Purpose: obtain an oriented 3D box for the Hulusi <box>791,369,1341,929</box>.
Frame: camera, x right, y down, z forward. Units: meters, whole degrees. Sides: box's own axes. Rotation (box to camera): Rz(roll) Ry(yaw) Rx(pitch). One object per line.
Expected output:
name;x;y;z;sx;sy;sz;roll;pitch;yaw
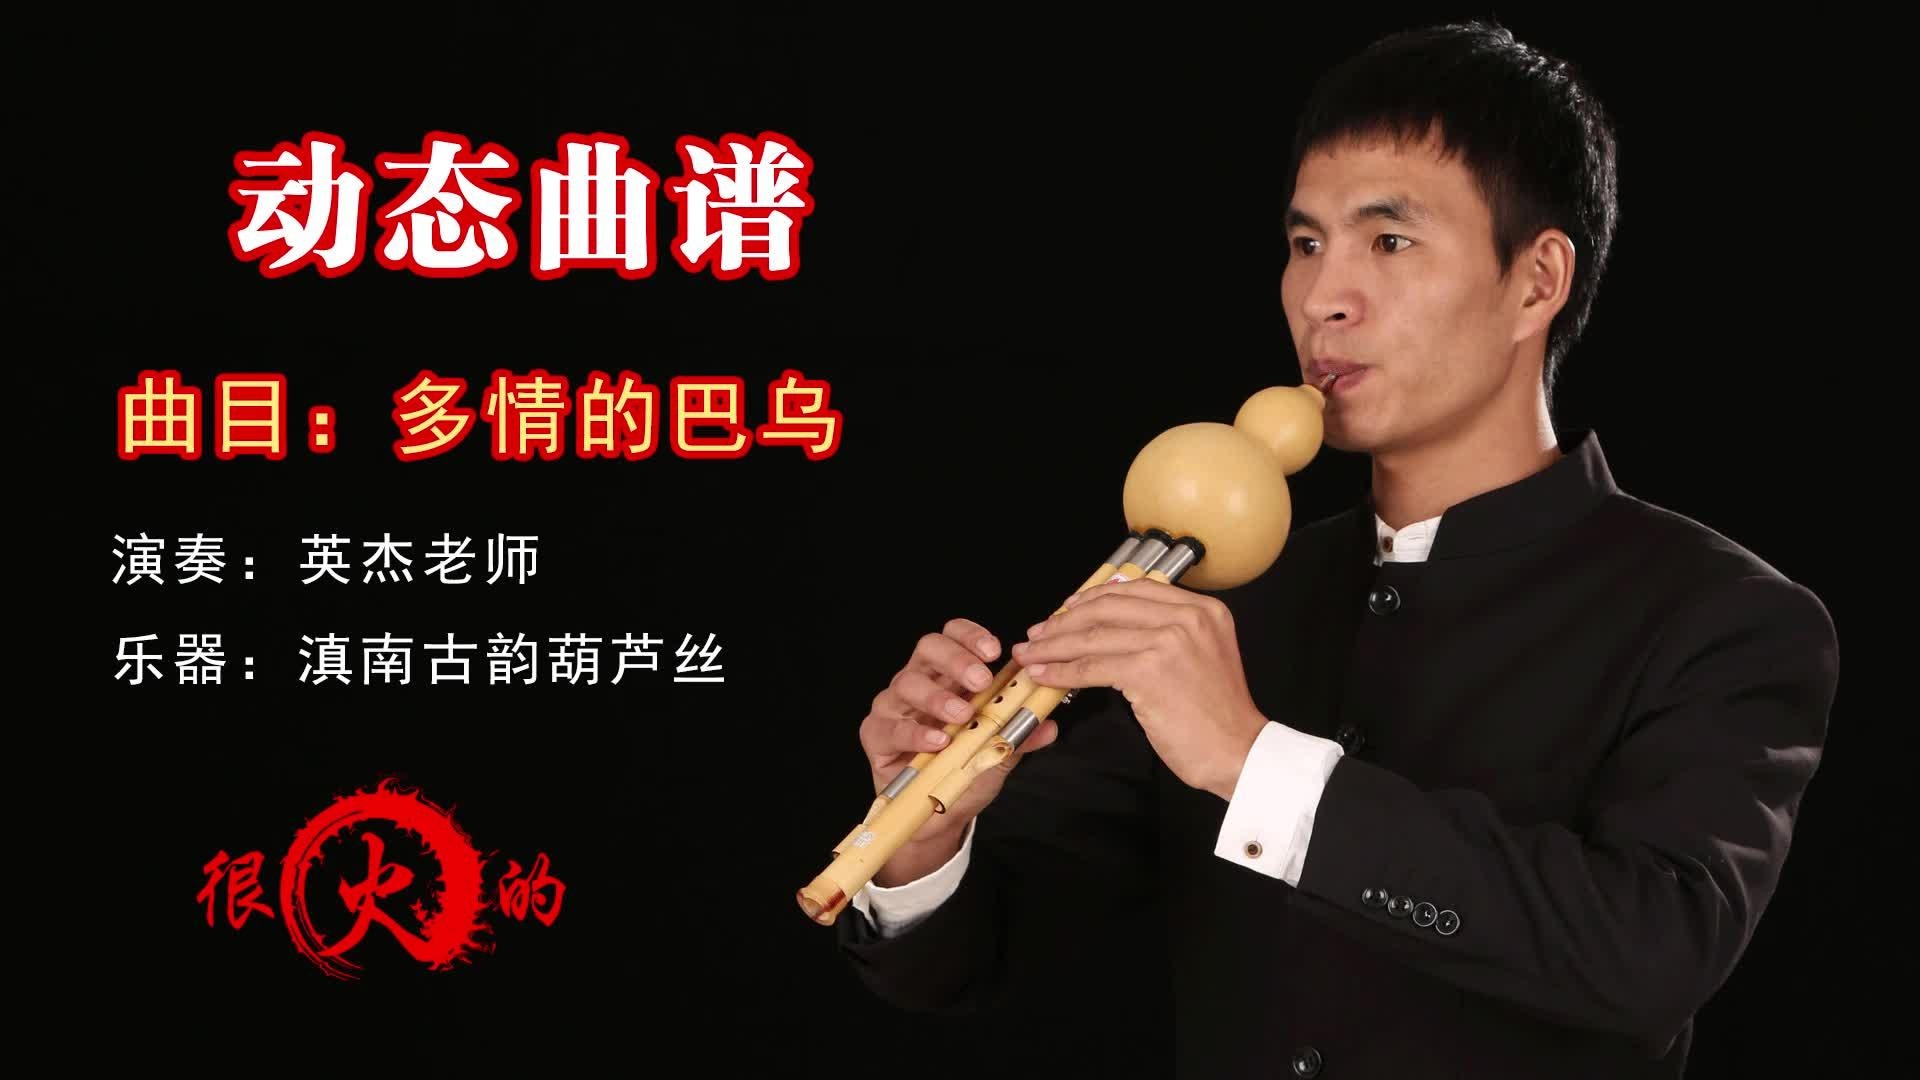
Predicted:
Hulusi;0.508;0.521;5.275;2.348;0.542;0.545;-39;10;-13
